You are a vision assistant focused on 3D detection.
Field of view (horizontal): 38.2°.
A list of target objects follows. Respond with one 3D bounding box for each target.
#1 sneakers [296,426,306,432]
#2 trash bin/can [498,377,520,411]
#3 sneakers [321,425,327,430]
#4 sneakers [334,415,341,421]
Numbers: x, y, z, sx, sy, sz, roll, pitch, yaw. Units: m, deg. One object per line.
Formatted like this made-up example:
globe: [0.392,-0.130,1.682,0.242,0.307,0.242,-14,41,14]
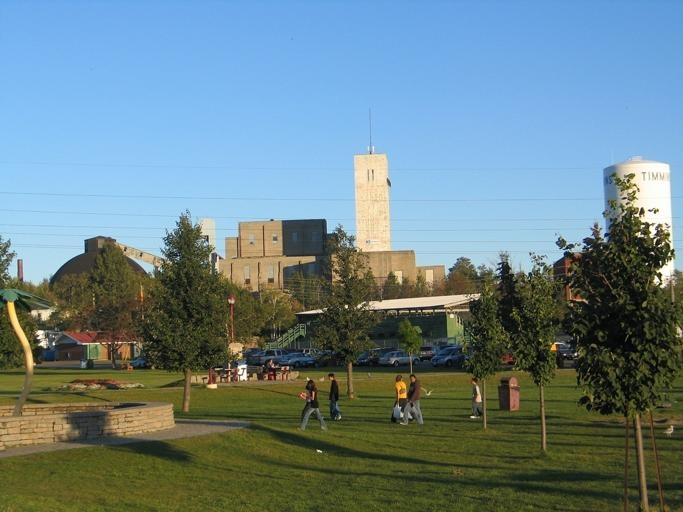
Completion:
sneakers: [-1.388,6.016,34.417,0.313,0.238,0.114,3,-5,16]
trash bin/can: [6.811,5.616,40.229,0.767,1.313,1.058,-3,-4,6]
sneakers: [-0.603,6.015,34.649,0.190,0.191,0.316,-3,-5,0]
sneakers: [-0.135,6.202,37.822,0.183,0.187,0.184,2,5,32]
